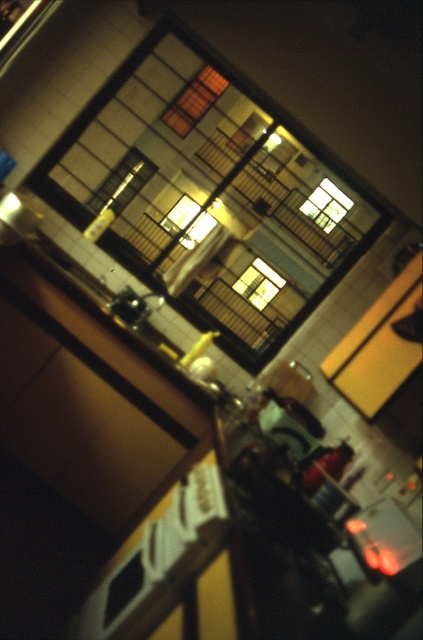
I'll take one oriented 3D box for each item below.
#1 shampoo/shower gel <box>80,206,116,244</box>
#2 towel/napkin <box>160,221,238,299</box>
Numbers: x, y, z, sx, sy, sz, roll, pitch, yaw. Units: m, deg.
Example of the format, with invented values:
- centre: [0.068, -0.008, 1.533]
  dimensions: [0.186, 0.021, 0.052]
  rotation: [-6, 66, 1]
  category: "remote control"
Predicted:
- centre: [-0.720, -0.610, 4.425]
  dimensions: [0.237, 0.209, 0.139]
  rotation: [-30, -50, 9]
  category: "shampoo/shower gel"
- centre: [-0.097, -0.365, 4.369]
  dimensions: [0.545, 0.275, 0.291]
  rotation: [-32, -50, 12]
  category: "towel/napkin"
